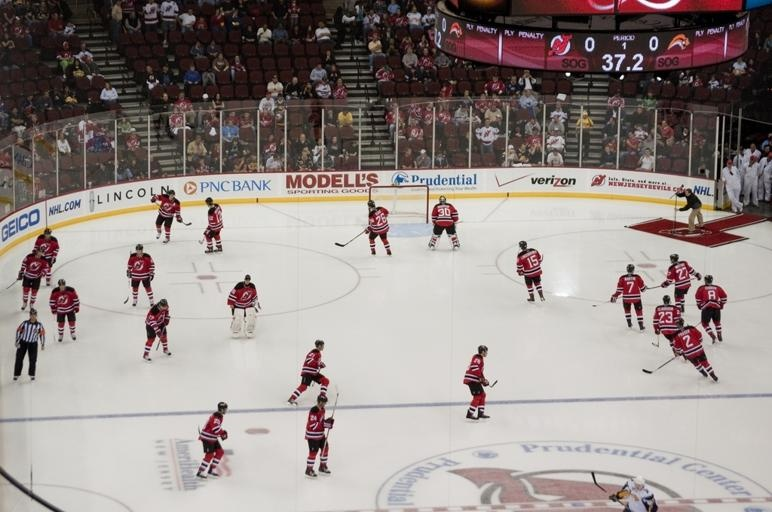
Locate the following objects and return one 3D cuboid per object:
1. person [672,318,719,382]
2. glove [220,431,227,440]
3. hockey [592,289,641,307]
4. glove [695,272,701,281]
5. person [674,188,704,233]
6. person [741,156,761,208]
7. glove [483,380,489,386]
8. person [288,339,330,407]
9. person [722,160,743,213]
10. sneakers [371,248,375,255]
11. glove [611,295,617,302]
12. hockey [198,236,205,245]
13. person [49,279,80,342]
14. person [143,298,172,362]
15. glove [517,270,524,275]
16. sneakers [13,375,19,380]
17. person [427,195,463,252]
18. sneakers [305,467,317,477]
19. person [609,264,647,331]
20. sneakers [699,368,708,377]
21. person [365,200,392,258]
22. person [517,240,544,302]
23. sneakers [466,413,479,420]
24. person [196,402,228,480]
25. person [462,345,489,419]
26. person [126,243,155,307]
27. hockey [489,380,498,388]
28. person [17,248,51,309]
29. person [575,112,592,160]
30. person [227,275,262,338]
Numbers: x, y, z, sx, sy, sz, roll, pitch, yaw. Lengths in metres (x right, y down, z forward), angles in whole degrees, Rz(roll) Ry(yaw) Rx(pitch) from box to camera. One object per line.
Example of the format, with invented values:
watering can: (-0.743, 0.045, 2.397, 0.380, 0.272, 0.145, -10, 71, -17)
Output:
person: (6.365, 1.965, 22.088, 0.662, 1.195, 0.879, -13, 20, -15)
glove: (-2.922, 3.221, 19.284, 0.125, 0.147, 0.164, 0, -5, -3)
hockey: (5.506, 1.025, 25.336, 1.315, 0.177, 0.070, -14, 8, -26)
glove: (7.383, 0.485, 25.148, 0.146, 0.183, 0.431, -3, -9, 12)
person: (8.388, -1.268, 29.421, 0.795, 1.206, 0.572, -5, 23, -2)
person: (10.840, -2.184, 31.539, 0.548, 1.483, 0.396, -5, 20, 7)
glove: (1.950, 2.466, 20.807, 0.149, 0.071, 0.204, 0, 11, 3)
person: (-1.537, 2.263, 21.197, 0.869, 1.239, 0.782, -4, 20, 9)
person: (10.188, -2.035, 31.157, 0.503, 1.585, 0.569, 11, 27, 42)
sneakers: (-0.324, -0.102, 28.094, 0.074, 0.148, 0.158, -3, 17, -11)
glove: (5.230, 0.990, 24.379, 0.128, 0.135, 0.177, -2, 1, 13)
hockey: (-4.986, -0.405, 28.784, 0.185, 0.111, 0.177, 0, 33, -7)
person: (-7.021, 1.129, 23.268, 0.610, 1.424, 0.872, -14, 20, -17)
person: (-4.943, 1.509, 22.716, 0.706, 1.292, 0.817, -11, 20, -11)
glove: (3.224, 0.396, 25.305, 0.128, 0.096, 0.105, -28, 35, -36)
sneakers: (-7.567, 2.473, 21.820, 0.095, 0.127, 0.067, 7, 7, 3)
person: (1.510, -0.941, 28.369, 0.822, 1.584, 1.339, -7, 19, 3)
sneakers: (-1.335, 3.899, 19.335, 0.288, 0.183, 0.106, 4, 10, -3)
person: (5.506, 0.895, 24.006, 0.844, 1.564, 0.515, -2, 19, 13)
sneakers: (6.573, 2.396, 22.015, 0.063, 0.196, 0.077, -25, 22, 20)
person: (-0.219, -0.722, 27.925, 0.690, 1.539, 0.635, -14, 20, -17)
person: (3.452, 0.311, 25.399, 0.576, 1.458, 0.800, -5, 19, 7)
sneakers: (1.687, 3.138, 20.932, 0.275, 0.118, 0.089, 1, 4, 10)
person: (-3.200, 3.272, 19.405, 0.762, 1.268, 0.676, -11, 20, -10)
person: (1.777, 2.450, 20.907, 0.499, 1.429, 0.579, -5, 20, 7)
person: (-5.742, 0.412, 24.881, 0.637, 1.505, 1.000, -12, 20, -13)
hockey: (2.184, 2.586, 21.561, 0.199, 0.051, 0.195, -19, -7, -35)
person: (-8.225, 0.464, 24.830, 0.848, 1.346, 1.119, -13, 20, -16)
person: (6.094, -3.599, 32.480, 0.531, 1.807, 0.127, -6, 20, 6)
person: (-3.152, 1.103, 23.488, 0.680, 1.420, 0.655, -12, 20, -11)
